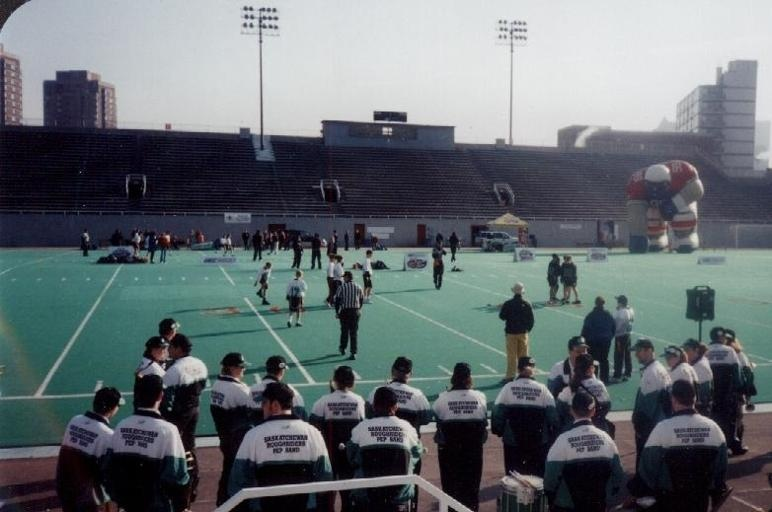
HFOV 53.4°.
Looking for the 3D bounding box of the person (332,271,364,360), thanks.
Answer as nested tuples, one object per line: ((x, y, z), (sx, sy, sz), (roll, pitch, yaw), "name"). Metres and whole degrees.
((-0.919, 1.497, 20.872), (0.826, 2.327, 0.728), (6, 22, 8), "person")

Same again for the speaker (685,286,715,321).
((7.635, 1.118, 17.999), (0.452, 0.867, 0.638), (-2, 0, -36), "speaker")

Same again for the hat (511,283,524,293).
((3.223, 0.841, 18.561), (0.281, 0.156, 0.282), (7, 22, 22), "hat")

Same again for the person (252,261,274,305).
((-4.836, 1.173, 30.421), (0.629, 1.613, 0.846), (-21, 35, -38), "person")
